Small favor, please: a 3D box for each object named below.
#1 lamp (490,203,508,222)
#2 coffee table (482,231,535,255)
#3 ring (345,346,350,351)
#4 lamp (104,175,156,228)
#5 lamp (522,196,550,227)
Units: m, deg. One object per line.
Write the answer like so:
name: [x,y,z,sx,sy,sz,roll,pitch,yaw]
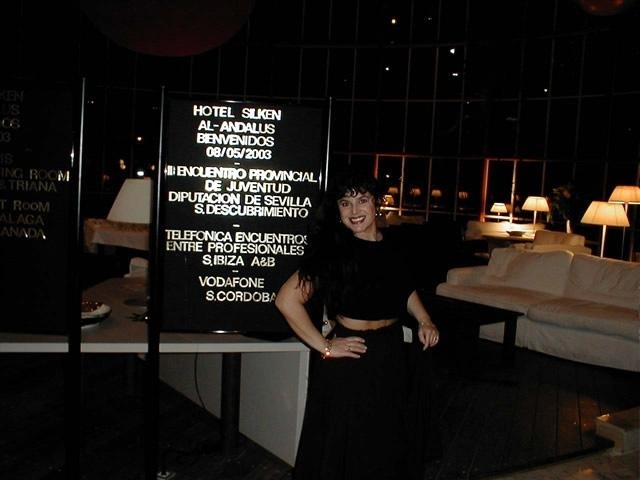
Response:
lamp: [4.457,-0.671,13.371,0.423,0.643,0.430,-1,2,3]
coffee table: [3.922,-0.021,11.343,0.832,0.292,0.864,0,3,4]
ring: [0.138,0.527,2.620,0.028,0.015,0.005,1,7,-1]
lamp: [-1.297,-0.243,3.789,0.394,0.413,0.368,4,5,-10]
lamp: [4.684,-0.610,11.706,0.637,0.821,0.661,0,4,3]
